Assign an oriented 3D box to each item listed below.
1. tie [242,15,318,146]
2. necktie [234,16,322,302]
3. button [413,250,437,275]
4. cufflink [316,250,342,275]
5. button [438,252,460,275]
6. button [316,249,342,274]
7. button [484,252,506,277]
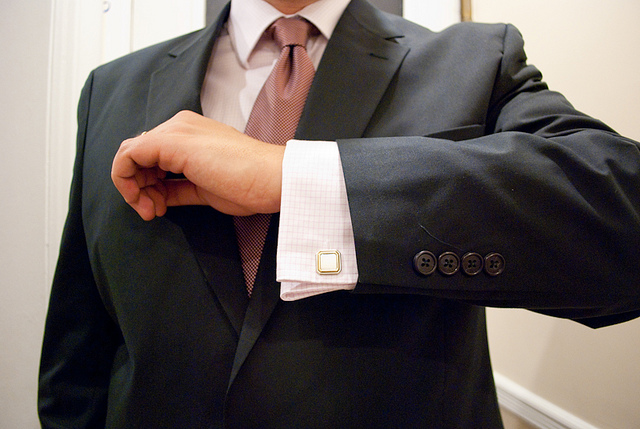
[{"bbox_3d":[-0.109,-0.390,1.680,0.163,0.480,0.064,7,48,-3],"label":"tie"},{"bbox_3d":[-0.109,-0.245,1.732,0.147,0.961,0.122,8,-20,4],"label":"necktie"},{"bbox_3d":[0.260,0.121,1.486,0.059,0.050,0.030,5,25,8],"label":"button"},{"bbox_3d":[0.022,0.122,1.506,0.054,0.060,0.017,0,-8,-1],"label":"cufflink"},{"bbox_3d":[0.319,0.123,1.492,0.054,0.048,0.025,2,25,4],"label":"button"},{"bbox_3d":[0.020,0.121,1.506,0.054,0.058,0.017,0,-9,-2],"label":"button"},{"bbox_3d":[0.433,0.127,1.495,0.052,0.069,0.014,2,1,-1],"label":"button"}]
